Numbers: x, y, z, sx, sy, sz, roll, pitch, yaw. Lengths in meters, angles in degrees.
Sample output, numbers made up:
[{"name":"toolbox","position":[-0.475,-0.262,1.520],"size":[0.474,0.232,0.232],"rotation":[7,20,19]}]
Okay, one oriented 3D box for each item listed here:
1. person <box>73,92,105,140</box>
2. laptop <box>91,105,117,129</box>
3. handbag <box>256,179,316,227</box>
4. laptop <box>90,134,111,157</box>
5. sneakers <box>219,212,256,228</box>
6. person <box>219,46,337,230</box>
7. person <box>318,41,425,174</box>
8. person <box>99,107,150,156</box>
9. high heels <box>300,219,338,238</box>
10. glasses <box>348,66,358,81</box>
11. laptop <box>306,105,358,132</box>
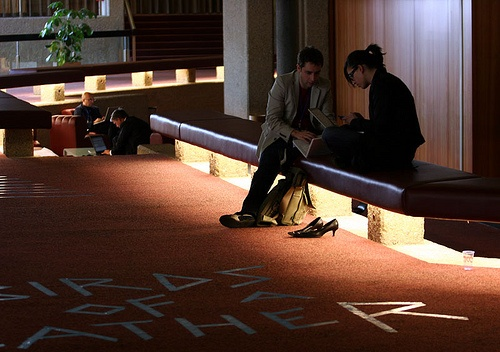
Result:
[{"name":"person","position":[-3.841,-1.428,10.654],"size":[0.719,1.132,0.594],"rotation":[-12,12,-7]},{"name":"laptop","position":[-3.471,-1.424,10.287],"size":[0.446,0.451,0.703],"rotation":[-4,5,39]},{"name":"handbag","position":[0.249,0.195,3.593],"size":[0.297,0.462,0.494],"rotation":[21,-3,6]},{"name":"laptop","position":[-2.536,-0.539,7.433],"size":[0.314,0.376,0.345],"rotation":[-10,-18,-8]},{"name":"sneakers","position":[-0.090,0.334,3.428],"size":[0.321,0.109,0.105],"rotation":[1,6,-14]},{"name":"person","position":[0.293,-0.283,3.500],"size":[0.708,1.236,1.417],"rotation":[15,35,16]},{"name":"person","position":[0.795,-0.496,3.101],"size":[0.706,0.812,0.749],"rotation":[-11,10,-35]},{"name":"person","position":[-2.250,-0.818,7.916],"size":[0.795,0.770,2.186],"rotation":[-2,10,-19]},{"name":"high heels","position":[0.534,0.380,3.267],"size":[0.335,0.121,0.104],"rotation":[-2,12,-4]},{"name":"glasses","position":[0.693,-0.705,2.970],"size":[0.021,0.061,0.063],"rotation":[10,2,-14]},{"name":"laptop","position":[0.619,-0.473,3.463],"size":[0.240,0.150,0.217],"rotation":[-16,8,19]}]
